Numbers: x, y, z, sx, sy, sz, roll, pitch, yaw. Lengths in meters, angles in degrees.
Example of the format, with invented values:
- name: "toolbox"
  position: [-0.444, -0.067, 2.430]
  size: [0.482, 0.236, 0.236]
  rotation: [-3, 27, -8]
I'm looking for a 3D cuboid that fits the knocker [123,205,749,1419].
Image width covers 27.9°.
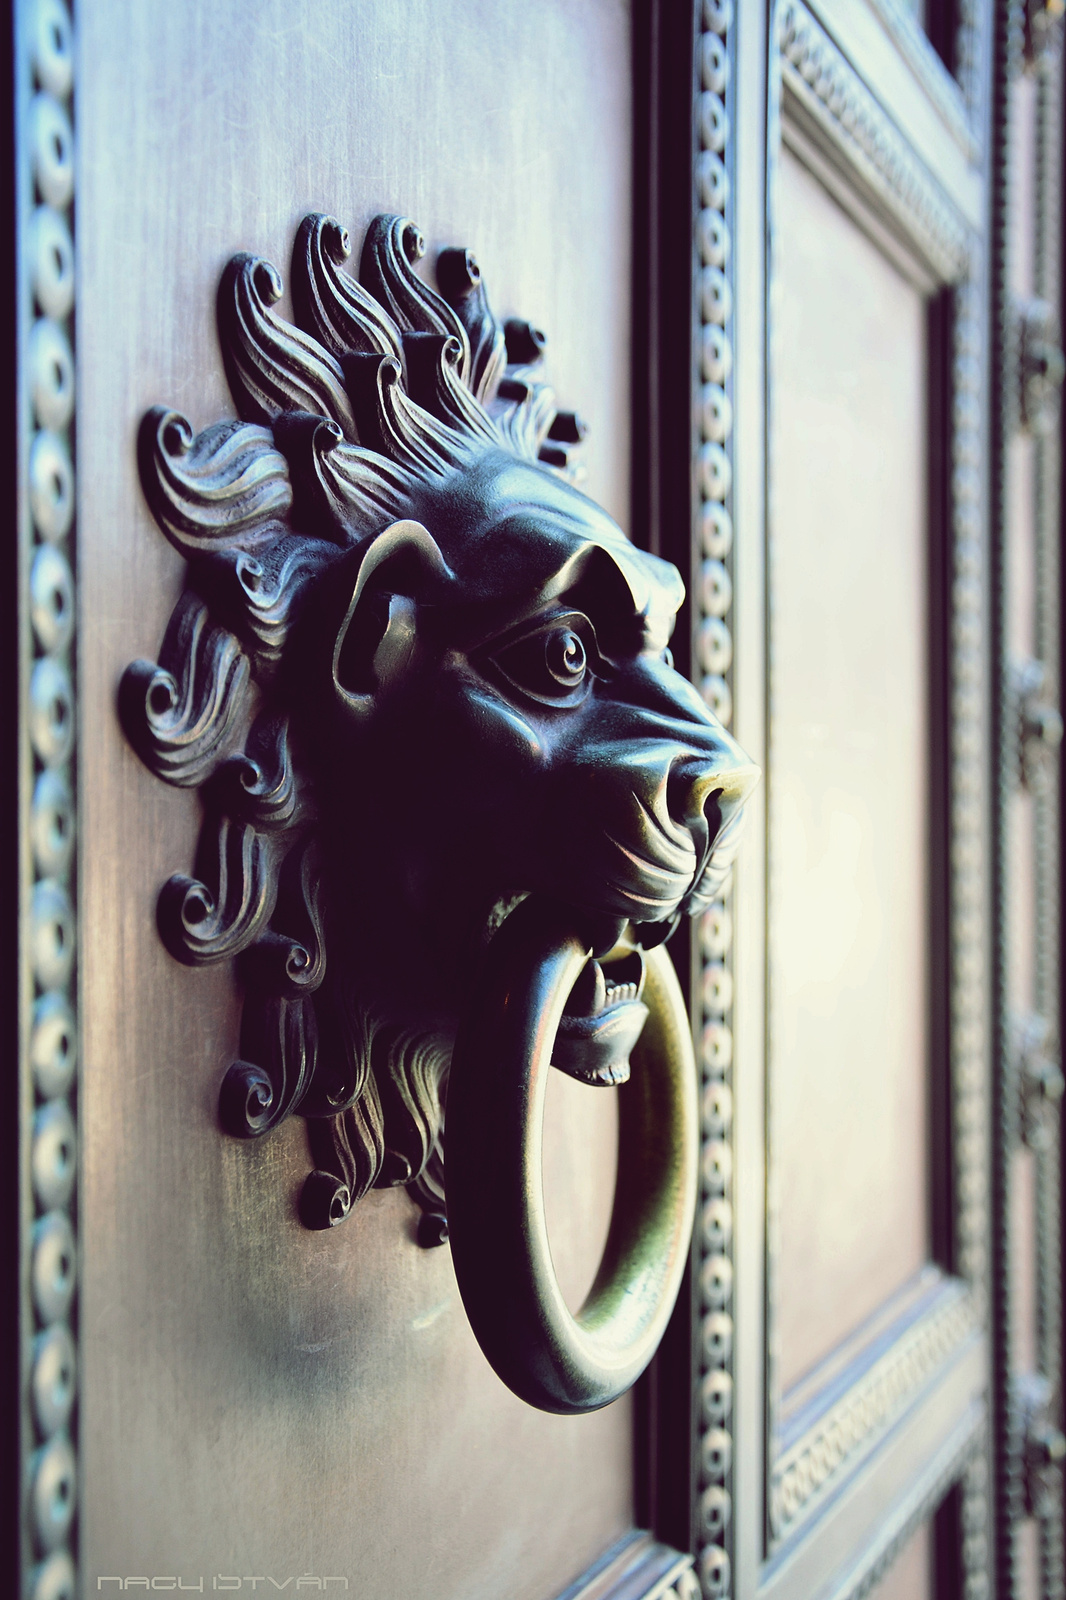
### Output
- name: "knocker"
  position: [-0.026, -0.004, 0.627]
  size: [0.175, 0.351, 0.100]
  rotation: [0, -2, -3]
